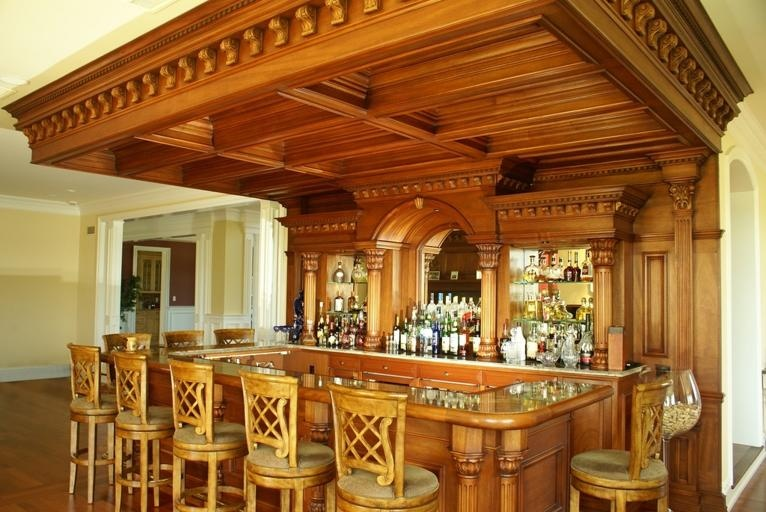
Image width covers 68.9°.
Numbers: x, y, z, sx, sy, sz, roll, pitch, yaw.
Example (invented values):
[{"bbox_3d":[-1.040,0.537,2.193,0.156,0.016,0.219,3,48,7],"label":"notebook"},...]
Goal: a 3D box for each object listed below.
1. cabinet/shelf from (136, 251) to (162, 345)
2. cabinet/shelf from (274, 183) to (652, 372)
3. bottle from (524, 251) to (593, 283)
[{"bbox_3d":[-6.820,1.023,16.203,0.320,2.365,0.846,-2,-6,30],"label":"cabinet/shelf"},{"bbox_3d":[0.820,0.173,6.597,4.141,2.023,0.714,-3,-6,33],"label":"cabinet/shelf"},{"bbox_3d":[1.978,0.103,6.331,0.748,0.375,0.351,-1,-5,16],"label":"bottle"}]
